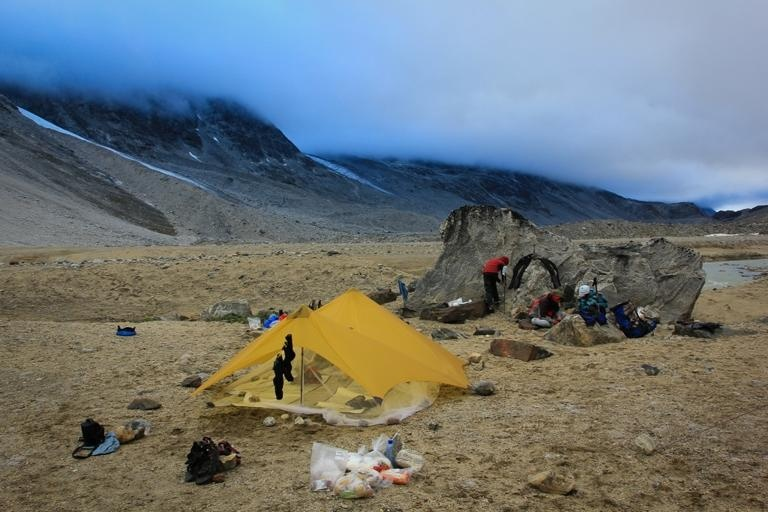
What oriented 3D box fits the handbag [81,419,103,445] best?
[{"bbox_3d":[-4.342,2.621,7.131,0.301,0.342,0.224,2,12,-23],"label":"handbag"}]
